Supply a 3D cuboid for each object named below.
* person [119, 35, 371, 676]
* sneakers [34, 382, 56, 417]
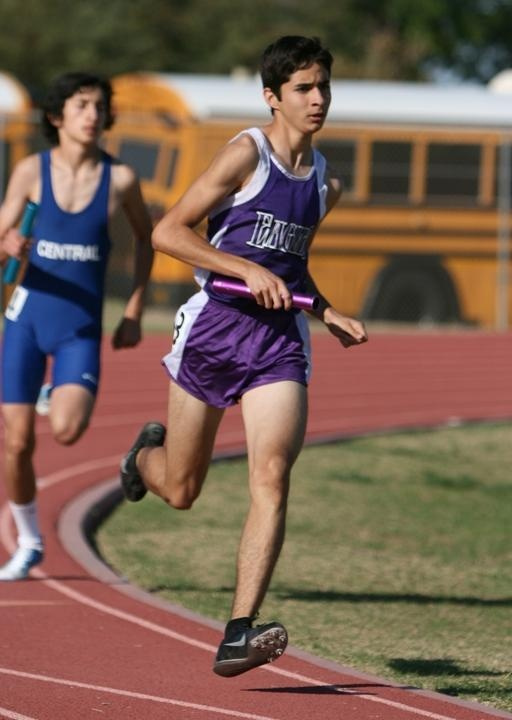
[{"bbox_3d":[-0.006,-0.007,2.474,0.613,1.222,1.110,5,2,-4],"label":"person"},{"bbox_3d":[-0.734,0.134,3.040,0.049,0.088,0.119,16,49,-16],"label":"sneakers"}]
